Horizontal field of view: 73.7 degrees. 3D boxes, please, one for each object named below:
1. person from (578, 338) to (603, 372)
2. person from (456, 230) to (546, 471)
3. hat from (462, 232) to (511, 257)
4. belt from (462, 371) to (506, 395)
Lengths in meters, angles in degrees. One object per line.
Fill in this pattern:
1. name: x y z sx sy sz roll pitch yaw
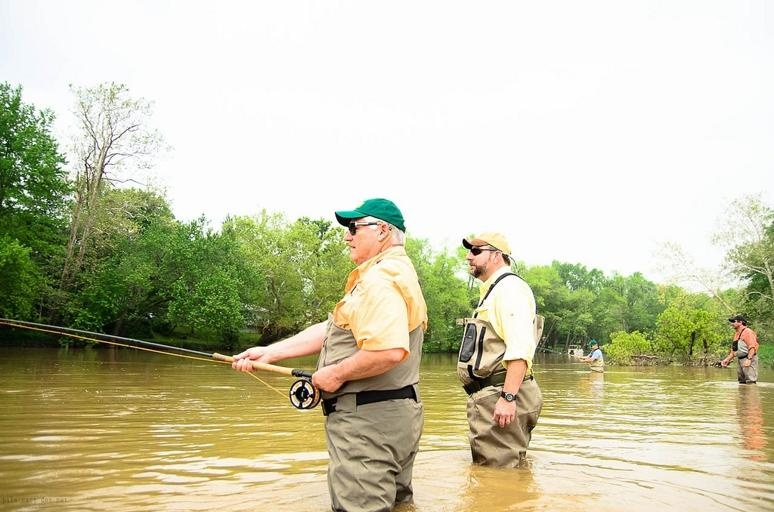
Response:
1. person: 9.355 4.703 23.606 1.013 1.652 0.817 -1 -1 10
2. person: 1.256 1.010 5.897 0.931 2.706 1.037 -2 -13 14
3. hat: 1.130 -0.118 5.784 0.453 0.205 0.300 8 -16 0
4. belt: 1.111 1.435 5.862 0.348 0.120 0.344 -14 -18 -23
